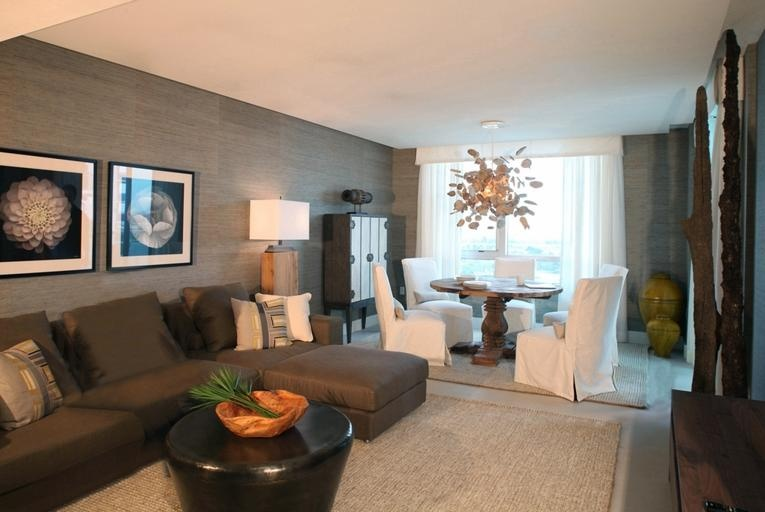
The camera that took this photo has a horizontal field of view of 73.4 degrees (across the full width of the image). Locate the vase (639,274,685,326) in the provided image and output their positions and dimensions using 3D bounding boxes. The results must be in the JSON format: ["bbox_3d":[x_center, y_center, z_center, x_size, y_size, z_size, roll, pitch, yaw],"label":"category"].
[{"bbox_3d":[3.593,0.570,6.641,0.505,0.683,0.480,-4,6,-38],"label":"vase"}]

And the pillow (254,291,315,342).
[{"bbox_3d":[-0.966,0.624,5.319,0.536,0.498,0.152,3,-21,-45],"label":"pillow"}]

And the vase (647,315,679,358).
[{"bbox_3d":[3.561,1.023,6.517,0.414,0.468,0.422,3,-2,39],"label":"vase"}]

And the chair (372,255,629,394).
[{"bbox_3d":[1.219,0.748,5.728,2.582,1.053,1.335,0,0,34],"label":"chair"}]

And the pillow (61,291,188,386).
[{"bbox_3d":[-2.149,0.697,4.230,0.770,0.682,0.219,-14,-17,-49],"label":"pillow"}]

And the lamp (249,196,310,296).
[{"bbox_3d":[-1.162,-0.100,5.860,0.563,1.113,0.684,8,14,33],"label":"lamp"}]

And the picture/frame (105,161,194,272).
[{"bbox_3d":[-2.220,-0.384,4.816,0.048,1.232,1.164,2,1,34],"label":"picture/frame"}]

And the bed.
[{"bbox_3d":[-0.715,0.848,4.745,1.779,0.700,1.302,0,2,31],"label":"bed"}]

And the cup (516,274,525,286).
[{"bbox_3d":[1.674,0.293,6.234,0.117,0.116,0.113,0,3,0],"label":"cup"}]
